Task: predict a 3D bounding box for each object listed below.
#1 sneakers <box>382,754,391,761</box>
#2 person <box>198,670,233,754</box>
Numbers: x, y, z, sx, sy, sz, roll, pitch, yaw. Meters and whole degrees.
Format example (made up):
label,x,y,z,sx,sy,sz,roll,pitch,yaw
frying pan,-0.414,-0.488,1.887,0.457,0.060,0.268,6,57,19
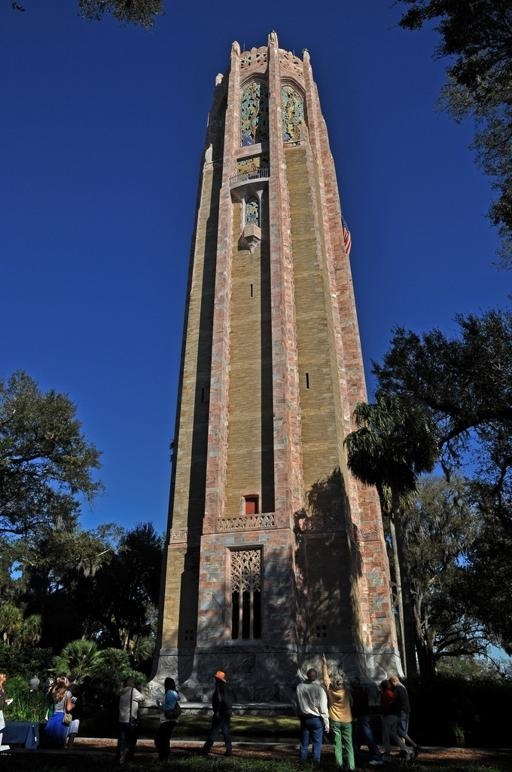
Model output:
label,x,y,z,sx,sy,sz,roll,pitch,yaw
sneakers,2.036,5.808,8.845,0.097,0.051,0.169,3,-15,3
person,-0.641,5.411,9.381,0.429,1.216,1.217,1,-29,-5
